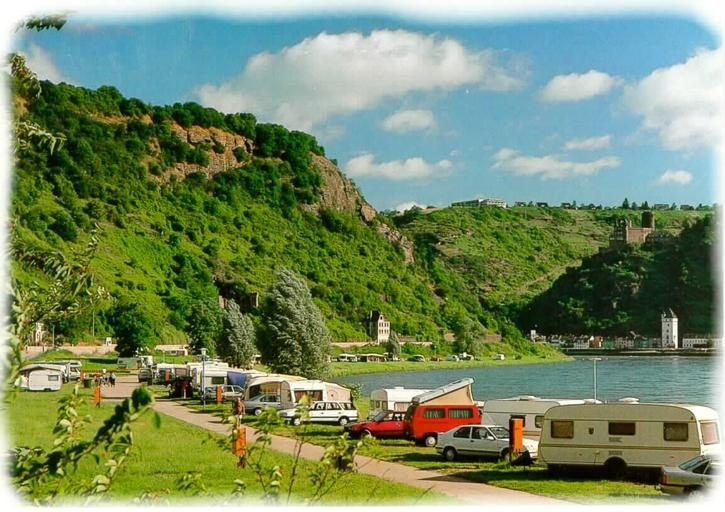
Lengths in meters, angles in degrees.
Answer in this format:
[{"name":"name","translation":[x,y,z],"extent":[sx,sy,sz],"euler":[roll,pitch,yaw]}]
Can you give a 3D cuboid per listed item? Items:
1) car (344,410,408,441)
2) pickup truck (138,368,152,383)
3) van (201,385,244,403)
[{"name":"car","translation":[2.198,17.973,136.157],"extent":[7.223,2.528,3.368],"euler":[4,-11,-8]},{"name":"pickup truck","translation":[-29.356,16.028,169.803],"extent":[0.816,1.735,2.351],"euler":[0,-7,26]},{"name":"van","translation":[-16.927,17.044,153.087],"extent":[4.208,1.462,2.394],"euler":[-3,-1,-7]}]
